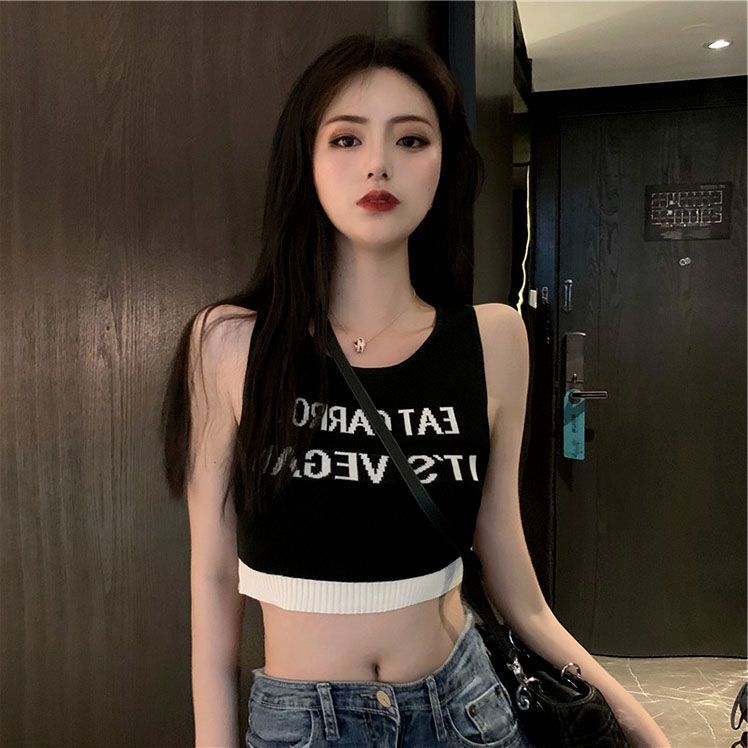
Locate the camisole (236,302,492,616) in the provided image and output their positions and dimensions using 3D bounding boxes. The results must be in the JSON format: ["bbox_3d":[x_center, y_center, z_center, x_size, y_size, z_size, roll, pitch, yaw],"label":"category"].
[{"bbox_3d":[0.005,0.166,1.594,0.470,0.750,0.384,2,-14,-3],"label":"camisole"}]
